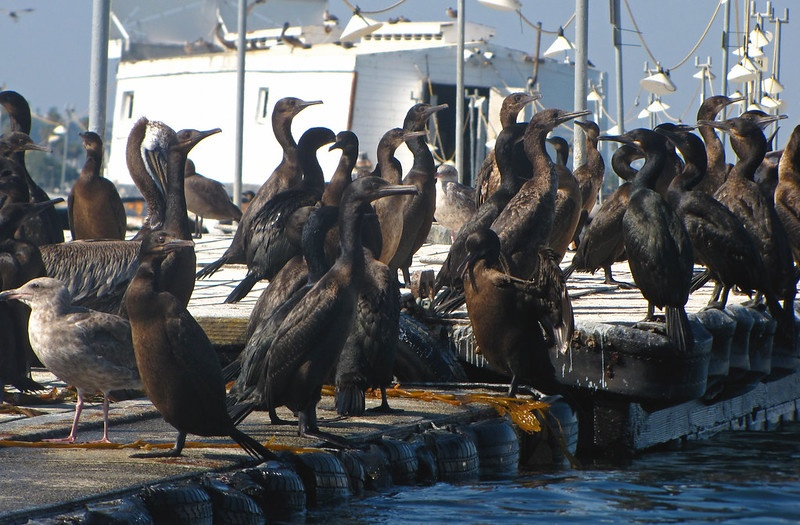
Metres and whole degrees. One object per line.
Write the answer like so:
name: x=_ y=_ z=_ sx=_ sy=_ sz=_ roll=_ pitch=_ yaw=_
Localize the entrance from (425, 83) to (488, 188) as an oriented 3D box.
entrance: x=2.097 y=-3.572 z=56.758 sx=2.763 sy=2.618 sz=2.313 roll=-2 pitch=2 yaw=-8
